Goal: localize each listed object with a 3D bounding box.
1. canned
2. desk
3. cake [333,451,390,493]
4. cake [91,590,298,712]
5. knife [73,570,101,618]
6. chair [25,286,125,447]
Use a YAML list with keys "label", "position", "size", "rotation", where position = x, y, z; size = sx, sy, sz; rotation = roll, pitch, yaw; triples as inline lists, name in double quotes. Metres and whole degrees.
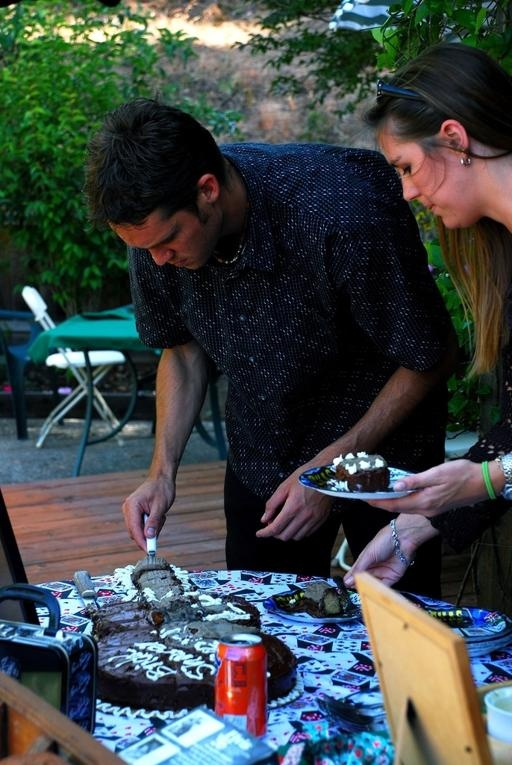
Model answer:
- label: "canned"
  position: [-0.019, 0.431, 0.976]
  size: [0.073, 0.190, 0.075]
  rotation: [-8, 22, -18]
- label: "desk"
  position: [-0.878, -0.111, 5.567]
  size: [1.765, 1.606, 1.401]
  rotation: [-6, 3, -14]
- label: "cake"
  position: [0.226, 0.194, 1.623]
  size: [0.130, 0.074, 0.106]
  rotation: [-6, 10, -38]
- label: "cake"
  position: [-0.119, 0.475, 1.244]
  size: [0.244, 0.053, 0.346]
  rotation: [0, -1, -12]
- label: "knife"
  position: [-0.404, 0.495, 1.664]
  size: [0.044, 0.034, 0.238]
  rotation: [-18, 23, -6]
- label: "chair"
  position: [-1.247, -0.141, 4.900]
  size: [0.624, 0.992, 0.568]
  rotation: [-9, 17, -30]
